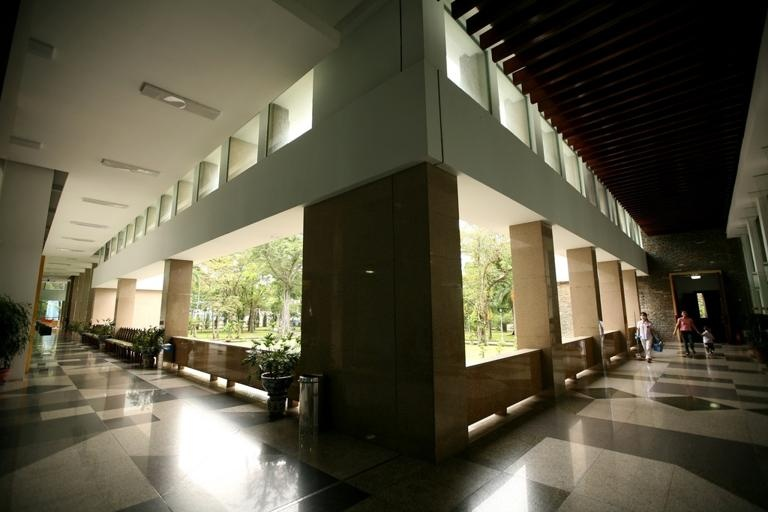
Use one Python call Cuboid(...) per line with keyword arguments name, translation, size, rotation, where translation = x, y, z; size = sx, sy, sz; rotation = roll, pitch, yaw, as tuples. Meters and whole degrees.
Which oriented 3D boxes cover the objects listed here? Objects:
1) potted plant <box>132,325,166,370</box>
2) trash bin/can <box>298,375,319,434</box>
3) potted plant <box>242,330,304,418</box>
Cuboid(name="potted plant", translation=(-7.475, 2.988, 14.277), size=(1.051, 1.144, 0.915), rotation=(-26, -21, 15))
Cuboid(name="trash bin/can", translation=(-1.430, 2.902, 8.537), size=(0.349, 1.047, 0.443), rotation=(1, -9, -16))
Cuboid(name="potted plant", translation=(-2.167, 2.546, 9.488), size=(1.052, 1.439, 1.325), rotation=(-12, -17, 42))
